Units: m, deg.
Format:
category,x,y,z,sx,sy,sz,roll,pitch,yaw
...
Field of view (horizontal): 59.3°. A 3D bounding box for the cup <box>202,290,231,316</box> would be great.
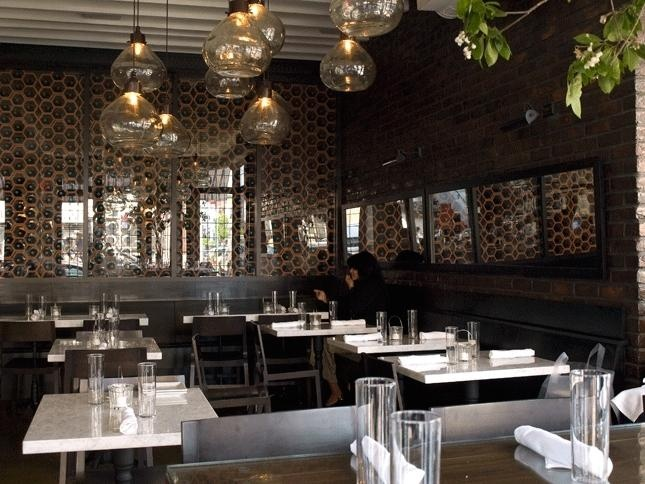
category,x,y,z,sx,sy,sz,roll,pitch,yaw
cup,-1.260,0.720,6.738,0.385,0.396,0.261,1,0,39
